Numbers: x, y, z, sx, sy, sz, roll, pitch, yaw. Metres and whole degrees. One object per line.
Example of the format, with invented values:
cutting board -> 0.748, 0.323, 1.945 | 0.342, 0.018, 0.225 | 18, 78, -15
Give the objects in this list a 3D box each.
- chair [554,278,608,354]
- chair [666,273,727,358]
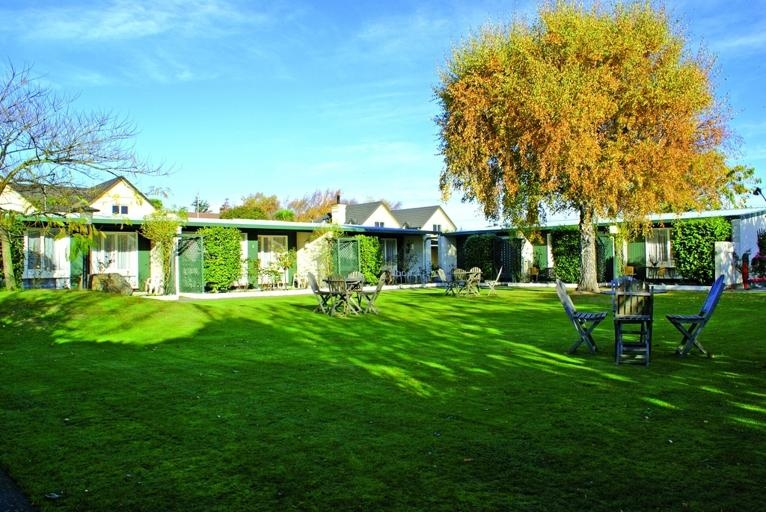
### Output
chair -> 3.568, 1.086, 10.606 | 0.928, 1.249, 0.763 | 1, 1, 29
chair -> 5.438, 1.025, 10.372 | 1.037, 1.326, 0.915 | 1, -1, 1
